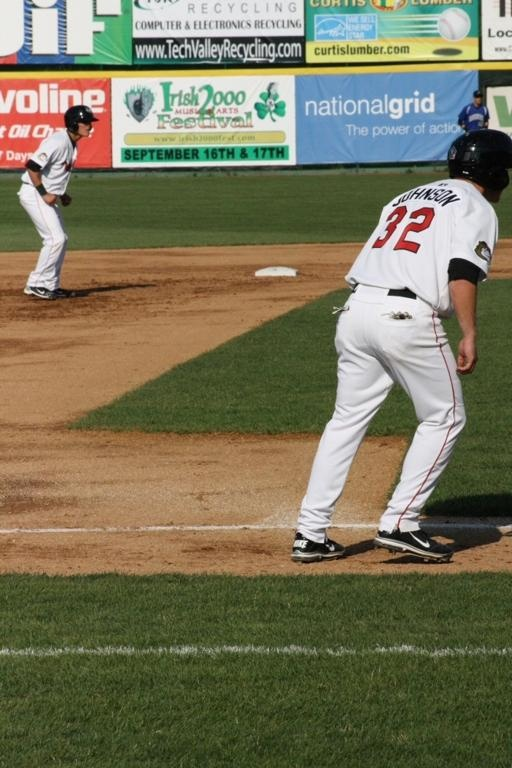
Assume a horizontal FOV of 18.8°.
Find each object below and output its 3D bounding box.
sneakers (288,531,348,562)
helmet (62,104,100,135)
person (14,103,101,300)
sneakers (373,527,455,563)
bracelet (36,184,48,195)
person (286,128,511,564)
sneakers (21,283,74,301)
[{"bbox_3d":[0.297,0.771,7.362,0.272,0.144,0.106,-1,6,-36],"label":"sneakers"},{"bbox_3d":[-1.610,-2.468,14.338,0.251,0.246,0.635,-4,12,-5],"label":"helmet"},{"bbox_3d":[-1.850,-1.689,14.630,0.697,1.868,1.019,-5,12,-12],"label":"person"},{"bbox_3d":[0.738,0.751,7.294,0.374,0.198,0.145,11,1,-4],"label":"sneakers"},{"bbox_3d":[-1.961,-1.808,14.315,0.059,0.062,0.096,-32,-16,9],"label":"bracelet"},{"bbox_3d":[0.647,-0.022,7.104,0.901,1.762,0.360,2,12,21],"label":"person"},{"bbox_3d":[-2.010,-0.878,15.137,0.479,0.239,0.168,9,6,-8],"label":"sneakers"}]
